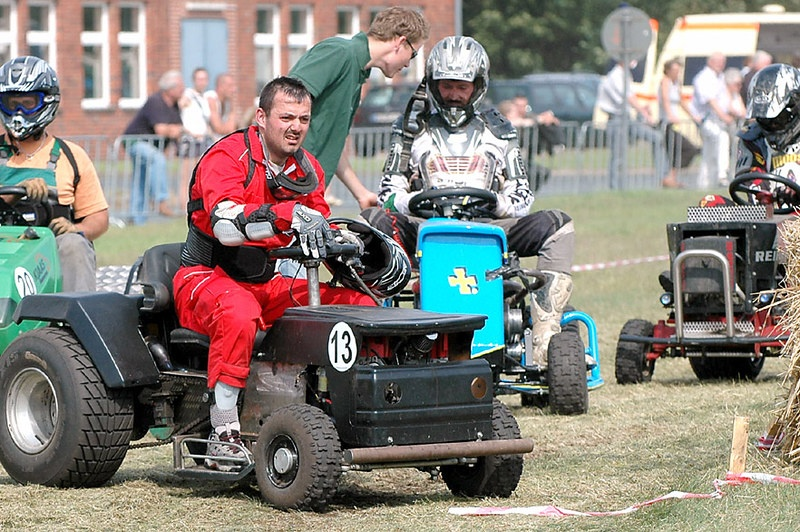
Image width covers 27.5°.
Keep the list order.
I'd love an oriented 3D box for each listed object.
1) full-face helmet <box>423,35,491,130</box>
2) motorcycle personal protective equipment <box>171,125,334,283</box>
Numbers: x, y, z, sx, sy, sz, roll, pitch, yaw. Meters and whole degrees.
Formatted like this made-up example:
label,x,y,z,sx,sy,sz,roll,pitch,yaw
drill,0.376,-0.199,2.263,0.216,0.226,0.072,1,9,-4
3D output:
label,x,y,z,sx,sy,sz,roll,pitch,yaw
full-face helmet,0.507,-1.640,14.515,0.554,0.814,0.341,2,3,1
motorcycle personal protective equipment,-1.119,-0.516,12.310,0.725,1.362,1.920,0,0,0
